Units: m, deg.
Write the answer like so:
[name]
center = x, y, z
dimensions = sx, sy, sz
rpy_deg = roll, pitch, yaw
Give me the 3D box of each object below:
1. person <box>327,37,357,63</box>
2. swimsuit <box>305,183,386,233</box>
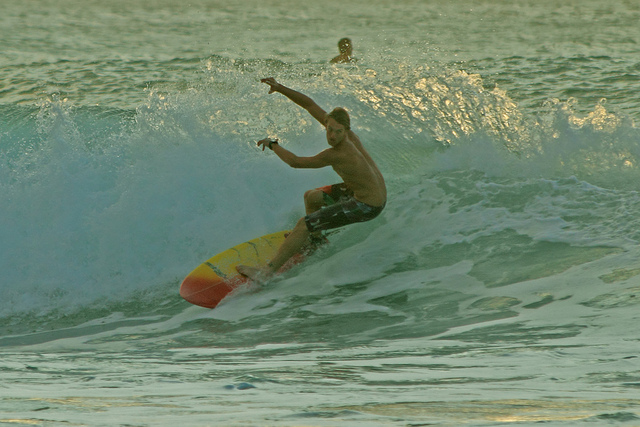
[person]
center = 0.470, -3.400, 17.666
dimensions = 0.498, 0.286, 0.958
rpy_deg = -13, 31, 17
[swimsuit]
center = 0.246, -0.123, 12.793
dimensions = 1.701, 0.339, 0.778
rpy_deg = -9, 33, 24
